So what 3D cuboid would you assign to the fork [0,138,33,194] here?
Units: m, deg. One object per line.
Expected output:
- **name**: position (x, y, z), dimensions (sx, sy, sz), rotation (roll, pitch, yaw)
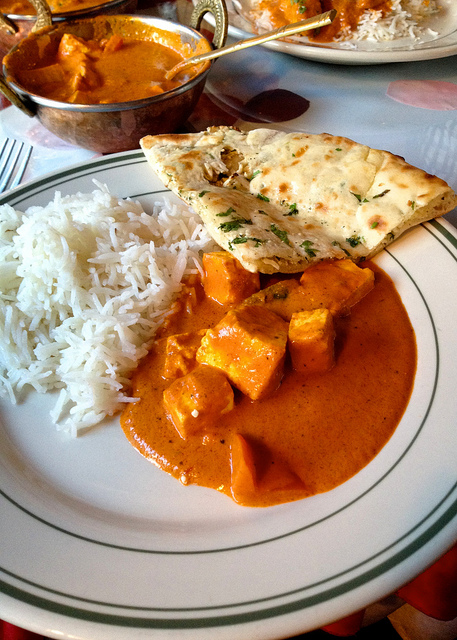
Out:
- **fork**: position (-0.980, -0.702, 2.584), dimensions (0.064, 0.056, 0.418), rotation (10, 55, 4)
